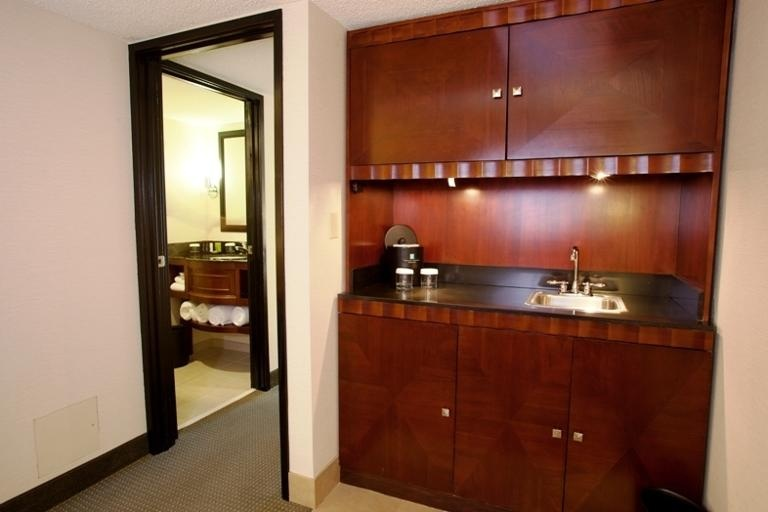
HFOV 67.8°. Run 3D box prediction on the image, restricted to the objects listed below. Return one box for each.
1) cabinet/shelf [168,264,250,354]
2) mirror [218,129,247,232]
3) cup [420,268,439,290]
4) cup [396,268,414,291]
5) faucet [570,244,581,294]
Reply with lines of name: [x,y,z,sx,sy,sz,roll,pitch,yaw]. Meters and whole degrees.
cabinet/shelf: [-1.601,0.443,5.218,0.894,0.814,0.352,1,1,27]
mirror: [-1.555,-0.765,5.858,0.378,1.033,0.087,2,7,35]
cup: [0.326,0.158,4.023,0.127,0.122,0.129,0,1,0]
cup: [0.144,0.155,3.947,0.132,0.143,0.134,0,-1,0]
faucet: [1.290,0.084,3.864,0.063,0.304,0.149,0,6,18]
